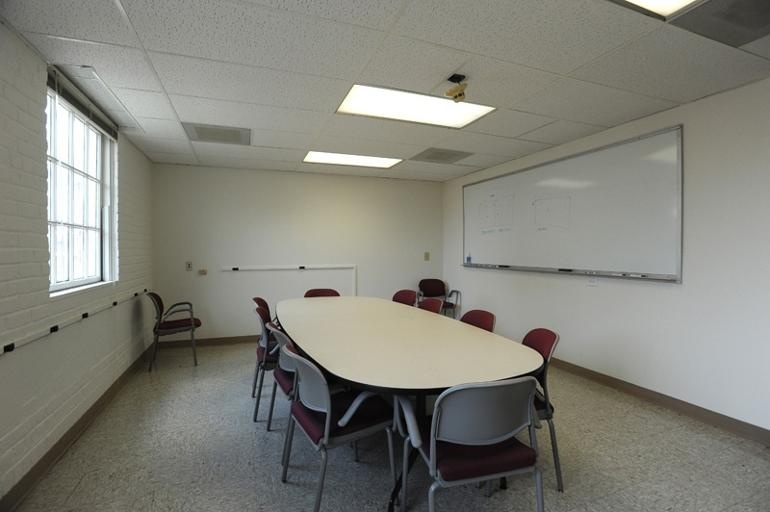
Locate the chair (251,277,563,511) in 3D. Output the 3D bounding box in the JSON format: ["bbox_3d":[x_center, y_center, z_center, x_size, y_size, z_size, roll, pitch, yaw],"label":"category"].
[{"bbox_3d":[0.092,1.243,4.569,1.849,0.948,2.683,-1,-1,-39],"label":"chair"}]

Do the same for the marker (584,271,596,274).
[{"bbox_3d":[2.422,0.186,5.659,0.018,0.045,0.130,-2,0,-37],"label":"marker"}]

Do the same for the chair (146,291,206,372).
[{"bbox_3d":[-2.759,0.926,6.272,0.671,0.936,0.716,3,4,43],"label":"chair"}]

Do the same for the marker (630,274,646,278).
[{"bbox_3d":[2.755,0.207,5.212,0.014,0.049,0.165,-2,0,-41],"label":"marker"}]

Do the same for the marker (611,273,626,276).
[{"bbox_3d":[2.625,0.193,5.382,0.011,0.042,0.164,-2,0,-38],"label":"marker"}]
